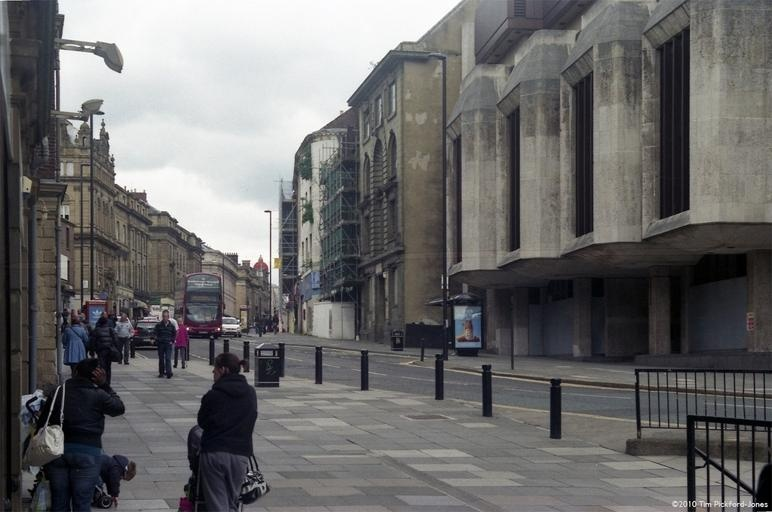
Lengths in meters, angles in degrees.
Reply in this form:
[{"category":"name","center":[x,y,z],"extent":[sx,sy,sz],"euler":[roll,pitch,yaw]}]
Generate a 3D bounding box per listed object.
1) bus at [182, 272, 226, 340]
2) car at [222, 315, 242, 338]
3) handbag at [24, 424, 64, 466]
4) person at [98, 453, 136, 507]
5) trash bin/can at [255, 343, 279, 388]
[{"category":"bus","center":[-11.767,2.689,83.565],"extent":[2.287,3.969,8.123],"euler":[1,2,-16]},{"category":"car","center":[-10.633,4.820,93.682],"extent":[1.077,0.837,2.310],"euler":[0,-10,-9]},{"category":"handbag","center":[-7.052,3.859,28.122],"extent":[0.456,0.808,1.209],"euler":[13,-28,-38]},{"category":"person","center":[-5.670,4.794,29.510],"extent":[0.762,0.926,0.982],"euler":[18,-3,36]},{"category":"trash bin/can","center":[-3.807,3.458,43.601],"extent":[0.788,1.375,0.493],"euler":[2,-5,-11]}]
